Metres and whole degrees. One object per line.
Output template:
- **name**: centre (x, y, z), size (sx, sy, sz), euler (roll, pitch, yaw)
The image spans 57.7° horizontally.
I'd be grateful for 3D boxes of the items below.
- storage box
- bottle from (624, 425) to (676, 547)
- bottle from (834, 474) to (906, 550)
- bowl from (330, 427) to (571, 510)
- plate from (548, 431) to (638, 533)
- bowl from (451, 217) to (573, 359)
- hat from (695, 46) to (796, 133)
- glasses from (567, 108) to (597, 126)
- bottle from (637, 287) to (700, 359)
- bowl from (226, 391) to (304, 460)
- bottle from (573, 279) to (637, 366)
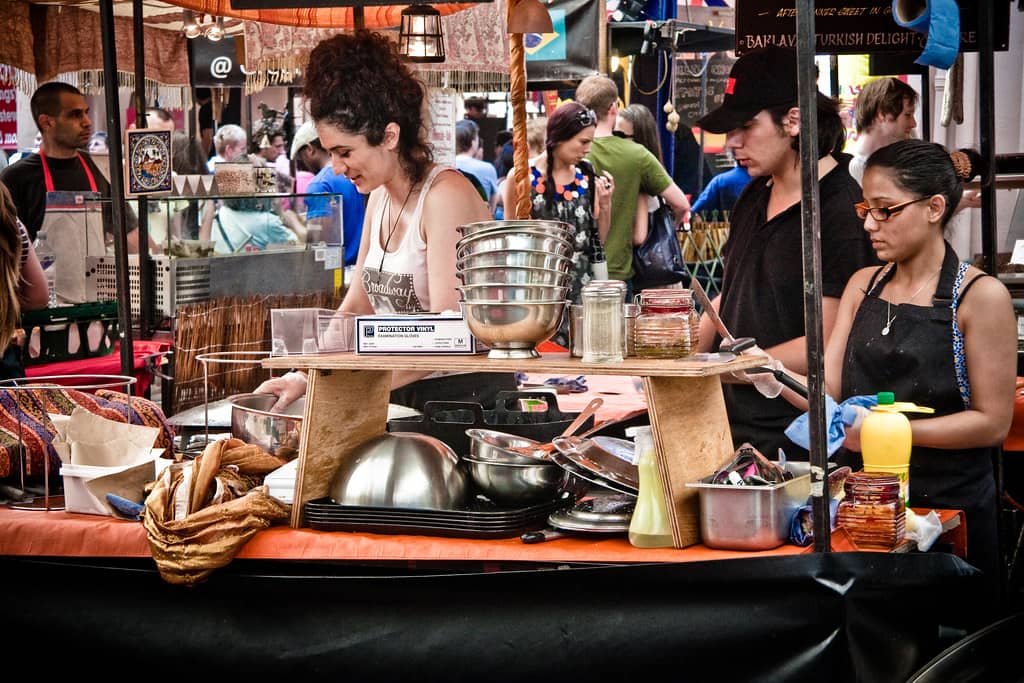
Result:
- **storage box**: centre (0.696, 0.478, 2.716), size (0.210, 0.125, 0.428), euler (-2, -3, 23)
- **bottle**: centre (0.399, 0.435, 2.804), size (0.120, 0.341, 0.191), euler (-4, 8, -11)
- **bottle**: centre (1.087, 0.504, 2.759), size (0.210, 0.217, 0.175), euler (-1, 8, 7)
- **bowl**: centre (-0.238, 0.407, 2.969), size (0.526, 0.145, 0.309), euler (1, 0, 1)
- **plate**: centre (0.276, 0.435, 2.948), size (0.298, 0.123, 0.284), euler (1, 5, -1)
- **bowl**: centre (0.013, -0.160, 2.988), size (0.414, 0.359, 0.408), euler (0, -4, 0)
- **hat**: centre (1.005, -1.019, 3.758), size (0.422, 0.205, 0.264), euler (-19, 19, -6)
- **glasses**: centre (0.466, -1.449, 6.019), size (0.133, 0.041, 0.132), euler (-15, 1, 39)
- **bottle**: centre (0.486, -0.050, 2.918), size (0.196, 0.218, 0.222), euler (0, 0, 7)
- **bowl**: centre (-0.883, 0.322, 3.452), size (0.329, 0.148, 0.389), euler (10, 3, 0)
- **bottle**: centre (0.267, -0.063, 2.824), size (0.167, 0.239, 0.180), euler (-3, 8, 0)
